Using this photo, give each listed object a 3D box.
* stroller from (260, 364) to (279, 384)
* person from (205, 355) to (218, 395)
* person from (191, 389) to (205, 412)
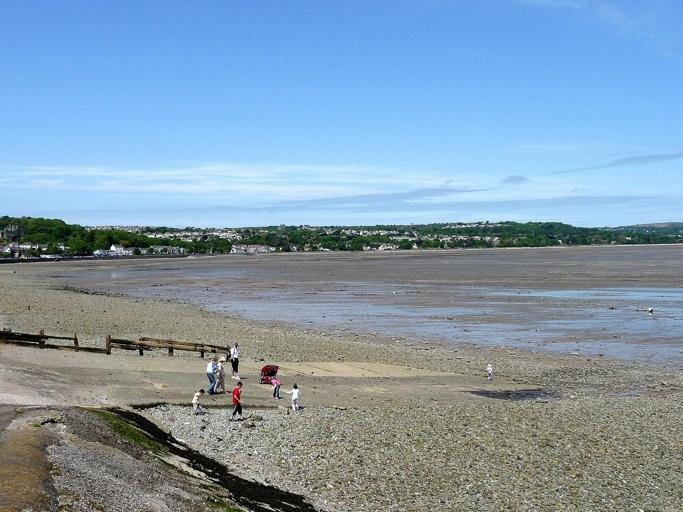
[{"bbox_3d":[-3.236,5.115,31.033,0.819,0.696,0.867,4,3,-24],"label":"stroller"},{"bbox_3d":[-5.345,4.900,29.183,0.483,1.475,1.081,-1,0,-10],"label":"person"},{"bbox_3d":[-5.505,5.546,27.167,0.438,0.883,0.393,-4,45,-21],"label":"person"}]
